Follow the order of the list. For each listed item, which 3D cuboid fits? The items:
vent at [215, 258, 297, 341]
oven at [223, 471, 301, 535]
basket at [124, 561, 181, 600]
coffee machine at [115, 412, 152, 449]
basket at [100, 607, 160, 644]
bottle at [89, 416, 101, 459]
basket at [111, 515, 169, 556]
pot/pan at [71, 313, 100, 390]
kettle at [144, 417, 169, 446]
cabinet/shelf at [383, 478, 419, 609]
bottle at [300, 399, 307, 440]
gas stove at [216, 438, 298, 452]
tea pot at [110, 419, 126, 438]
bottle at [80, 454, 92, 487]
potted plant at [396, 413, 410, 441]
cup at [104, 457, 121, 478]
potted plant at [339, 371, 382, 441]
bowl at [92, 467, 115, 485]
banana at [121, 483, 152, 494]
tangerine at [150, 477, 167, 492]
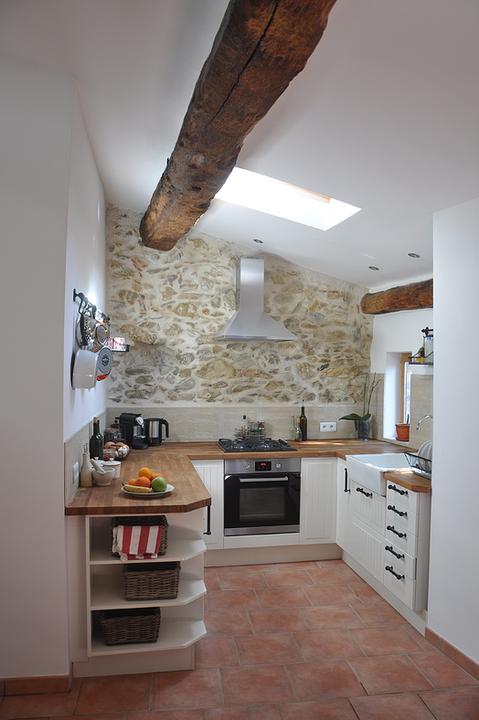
[{"bbox_3d":[0.109,-0.520,4.277,0.680,0.868,0.686,0,1,-16],"label":"vent"},{"bbox_3d":[0.109,1.148,3.931,0.699,0.552,0.396,6,-8,-26],"label":"oven"},{"bbox_3d":[-0.424,0.997,2.325,0.232,0.179,0.168,1,-10,-12],"label":"basket"},{"bbox_3d":[-0.833,0.573,3.807,0.249,0.284,0.421,1,-4,-12],"label":"coffee machine"},{"bbox_3d":[-0.514,1.272,2.273,0.212,0.106,0.154,-1,-6,-10],"label":"basket"},{"bbox_3d":[-0.864,0.487,2.929,0.077,0.240,0.233,2,-4,-17],"label":"bottle"},{"bbox_3d":[-0.481,0.854,2.338,0.255,0.179,0.208,2,-4,-15],"label":"basket"},{"bbox_3d":[-0.797,0.040,2.529,0.092,0.227,0.312,1,-4,-5],"label":"pot/pan"},{"bbox_3d":[-0.710,0.592,4.027,0.225,0.246,0.165,1,0,-16],"label":"kettle"},{"bbox_3d":[0.980,1.102,2.913,0.102,0.684,0.398,2,-4,-14],"label":"cabinet/shelf"},{"bbox_3d":[0.585,0.587,4.519,0.080,0.334,0.157,0,-4,7],"label":"bottle"},{"bbox_3d":[0.122,0.714,4.090,0.601,0.063,0.704,1,-4,-9],"label":"gas stove"},{"bbox_3d":[-0.895,0.527,3.542,0.089,0.116,0.236,1,-4,-12],"label":"tea pot"},{"bbox_3d":[-0.834,0.601,2.647,0.064,0.175,0.116,2,-4,-18],"label":"bottle"},{"bbox_3d":[1.410,0.636,4.266,0.125,0.138,0.129,-2,4,-18],"label":"potted plant"},{"bbox_3d":[-0.744,0.633,2.818,0.091,0.106,0.096,2,1,0],"label":"cup"},{"bbox_3d":[1.153,0.435,4.676,0.341,0.652,0.290,4,-2,39],"label":"potted plant"},{"bbox_3d":[-0.738,0.647,2.651,0.123,0.086,0.120,1,-4,0],"label":"bowl"},{"bbox_3d":[-0.509,0.652,2.413,0.144,0.048,0.063,0,-4,3],"label":"banana"},{"bbox_3d":[-0.406,0.631,2.444,0.075,0.071,0.093,1,-4,-11],"label":"tangerine"}]
